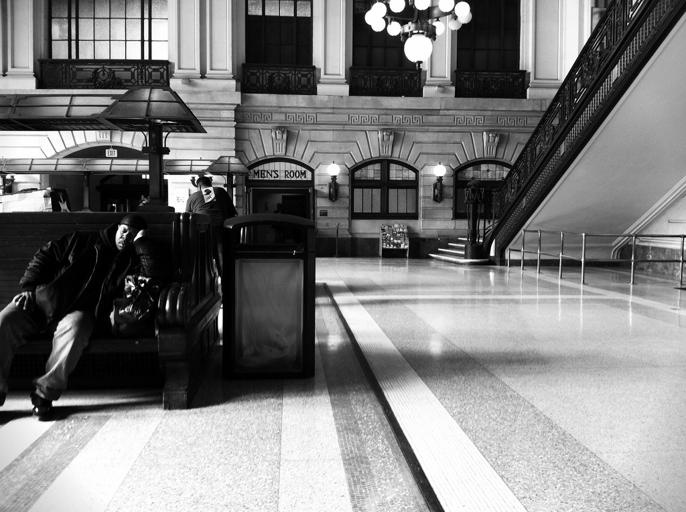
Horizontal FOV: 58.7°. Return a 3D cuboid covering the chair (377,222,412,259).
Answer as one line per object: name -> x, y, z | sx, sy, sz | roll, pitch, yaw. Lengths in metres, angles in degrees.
chair -> 1.565, -0.369, 20.034 | 1.119, 1.875, 0.870 | 0, -3, -4

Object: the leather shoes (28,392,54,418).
leather shoes -> -2.409, 1.194, 4.969 | 0.249, 0.195, 0.135 | 3, 8, 25

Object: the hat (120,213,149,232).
hat -> -1.788, -0.267, 5.401 | 0.140, 0.169, 0.195 | 6, -18, 31

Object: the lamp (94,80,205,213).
lamp -> -2.245, -1.372, 7.682 | 1.348, 2.109, 1.408 | 0, 0, -6

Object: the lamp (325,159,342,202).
lamp -> -0.257, -2.265, 19.679 | 0.385, 1.282, 0.386 | 0, 7, -2
